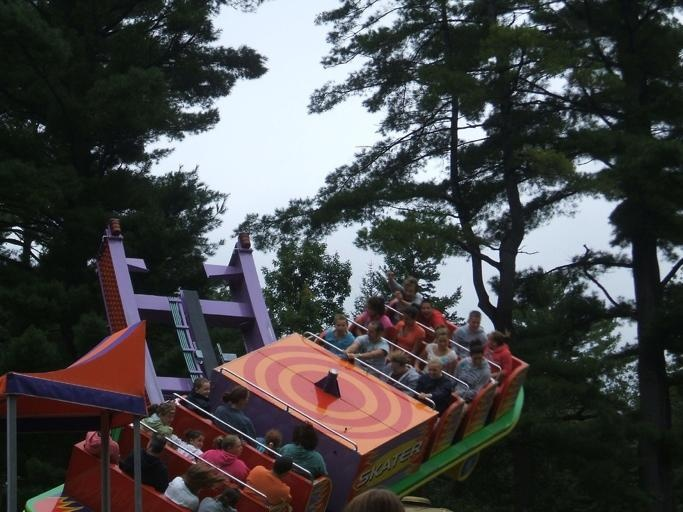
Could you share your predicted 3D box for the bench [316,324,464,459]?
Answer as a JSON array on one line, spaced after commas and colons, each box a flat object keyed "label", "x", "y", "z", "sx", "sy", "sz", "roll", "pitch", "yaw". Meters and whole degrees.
[{"label": "bench", "x": 0.811, "y": 2.229, "z": 24.504, "sx": 2.357, "sy": 1.105, "sz": 1.668, "roll": 41, "pitch": 8, "yaw": 21}]

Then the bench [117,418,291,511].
[{"label": "bench", "x": -2.448, "y": 3.979, "z": 22.170, "sx": 3.025, "sy": 1.646, "sz": 0.800, "roll": -6, "pitch": -12, "yaw": 25}]
